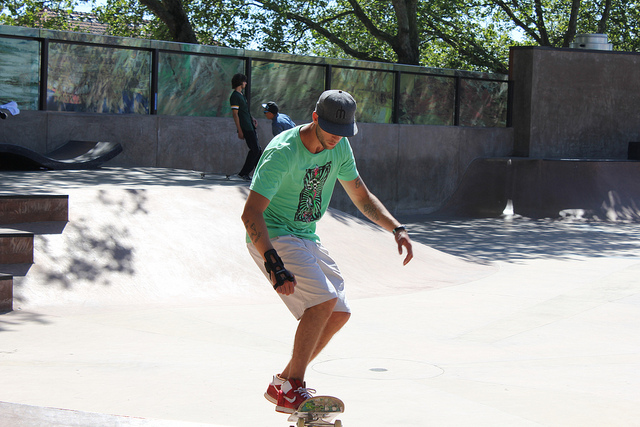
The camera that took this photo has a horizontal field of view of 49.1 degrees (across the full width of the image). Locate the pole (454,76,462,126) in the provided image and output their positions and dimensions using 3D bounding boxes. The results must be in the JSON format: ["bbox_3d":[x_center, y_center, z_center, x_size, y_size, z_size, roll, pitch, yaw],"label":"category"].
[{"bbox_3d":[4.238,-3.461,21.642,0.184,1.473,0.370,4,3,9],"label":"pole"}]

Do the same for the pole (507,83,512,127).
[{"bbox_3d":[6.155,-3.520,22.774,0.155,1.373,0.199,4,3,20],"label":"pole"}]

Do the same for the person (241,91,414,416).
[{"bbox_3d":[-0.051,0.359,6.215,1.312,2.872,0.745,1,4,-38],"label":"person"}]

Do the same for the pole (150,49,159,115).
[{"bbox_3d":[-3.920,-3.085,16.507,0.160,1.525,0.208,2,3,-14],"label":"pole"}]

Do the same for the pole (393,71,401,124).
[{"bbox_3d":[2.236,-3.379,20.392,0.178,1.491,0.134,2,4,-29],"label":"pole"}]

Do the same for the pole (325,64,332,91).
[{"bbox_3d":[0.220,-3.772,19.317,0.156,0.709,0.410,4,3,7],"label":"pole"}]

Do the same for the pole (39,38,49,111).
[{"bbox_3d":[-6.019,-3.014,15.227,0.166,1.544,0.220,2,3,-21],"label":"pole"}]
